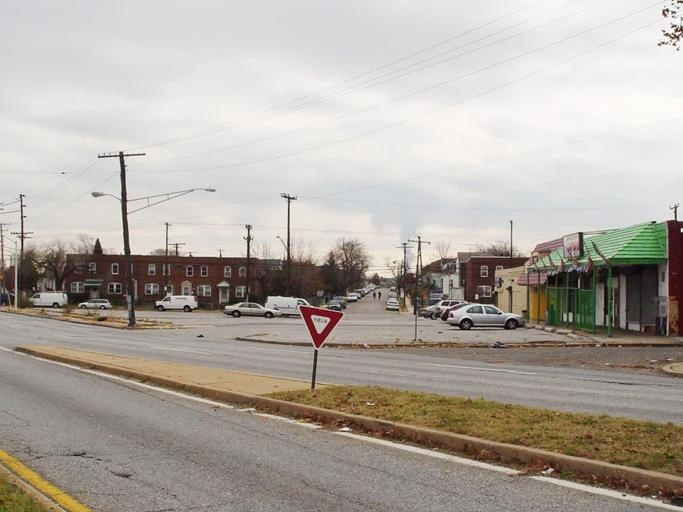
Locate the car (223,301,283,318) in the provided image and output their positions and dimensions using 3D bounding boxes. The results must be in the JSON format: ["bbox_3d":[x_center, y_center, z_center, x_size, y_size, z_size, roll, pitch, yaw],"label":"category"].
[{"bbox_3d":[-7.176,4.275,59.426,3.993,1.127,1.561,-1,-3,6],"label":"car"}]

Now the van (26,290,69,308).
[{"bbox_3d":[-29.475,4.337,75.860,3.218,1.666,1.608,-1,-1,-11],"label":"van"}]

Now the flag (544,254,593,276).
[{"bbox_3d":[12.249,0.430,40.422,1.121,0.280,2.453,6,-10,-34],"label":"flag"}]

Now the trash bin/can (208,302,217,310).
[{"bbox_3d":[-13.577,5.277,79.323,0.677,0.476,0.663,0,0,-45],"label":"trash bin/can"}]

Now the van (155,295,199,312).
[{"bbox_3d":[-15.246,4.375,70.101,3.054,1.549,2.219,-1,-1,8],"label":"van"}]
